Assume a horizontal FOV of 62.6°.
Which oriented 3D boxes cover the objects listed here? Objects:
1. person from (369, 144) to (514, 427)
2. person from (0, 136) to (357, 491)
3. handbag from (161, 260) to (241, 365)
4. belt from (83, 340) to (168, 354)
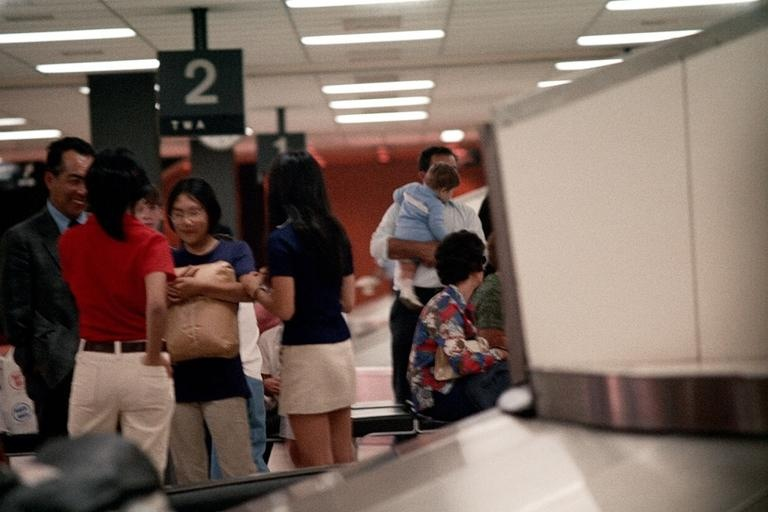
[{"bbox_3d":[0.271,0.060,3.232,0.602,1.515,1.200,-1,-3,-5],"label":"person"},{"bbox_3d":[-0.969,0.282,2.738,0.792,1.484,0.637,0,-3,-19],"label":"person"},{"bbox_3d":[-0.818,0.255,2.778,0.460,0.532,0.233,0,-9,-7],"label":"handbag"},{"bbox_3d":[-1.086,0.363,2.525,0.243,0.049,0.042,-1,-3,3],"label":"belt"}]
